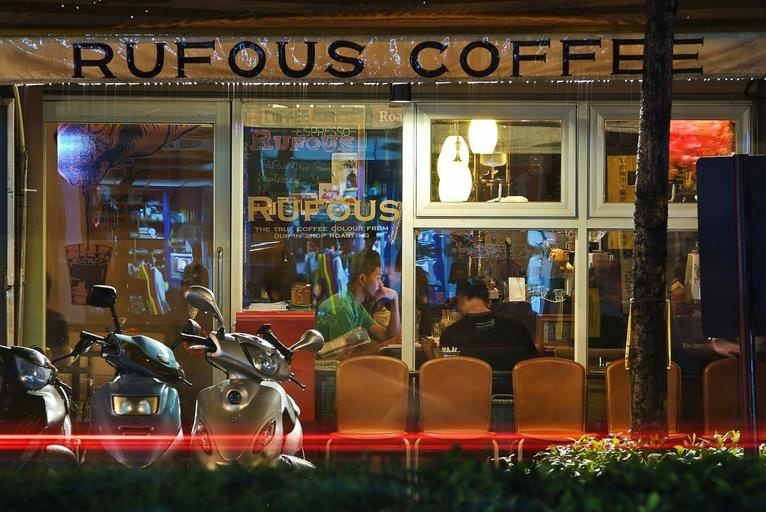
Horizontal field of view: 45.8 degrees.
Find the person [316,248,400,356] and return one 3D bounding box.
[{"bbox_3d":[-0.211,0.447,9.063,0.968,1.298,0.806,1,1,-3],"label":"person"}]

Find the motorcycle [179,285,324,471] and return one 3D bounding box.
[{"bbox_3d":[-0.975,0.891,6.621,0.969,1.238,0.726,-3,12,-11],"label":"motorcycle"}]

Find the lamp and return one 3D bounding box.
[{"bbox_3d":[0.840,-0.947,9.012,0.590,0.787,0.182,-1,12,-1],"label":"lamp"}]
